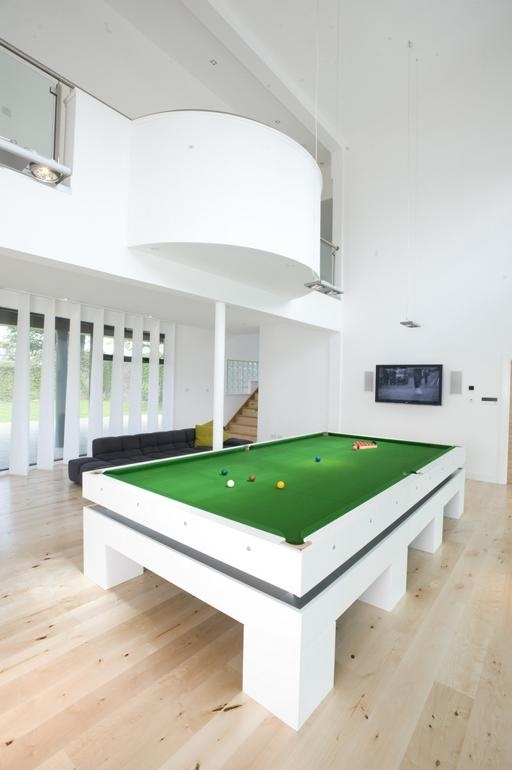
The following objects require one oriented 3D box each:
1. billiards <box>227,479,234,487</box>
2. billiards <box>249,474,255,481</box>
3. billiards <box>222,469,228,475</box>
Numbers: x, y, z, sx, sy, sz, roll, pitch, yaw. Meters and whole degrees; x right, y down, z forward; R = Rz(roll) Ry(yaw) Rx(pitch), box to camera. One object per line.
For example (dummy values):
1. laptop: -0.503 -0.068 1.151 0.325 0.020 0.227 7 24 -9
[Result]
1. billiards: -0.155 0.612 3.647 0.034 0.022 0.035 9 11 38
2. billiards: -0.025 0.605 3.824 0.030 0.036 0.030 7 14 -1
3. billiards: -0.209 0.585 3.929 0.033 0.025 0.032 -3 6 -20
